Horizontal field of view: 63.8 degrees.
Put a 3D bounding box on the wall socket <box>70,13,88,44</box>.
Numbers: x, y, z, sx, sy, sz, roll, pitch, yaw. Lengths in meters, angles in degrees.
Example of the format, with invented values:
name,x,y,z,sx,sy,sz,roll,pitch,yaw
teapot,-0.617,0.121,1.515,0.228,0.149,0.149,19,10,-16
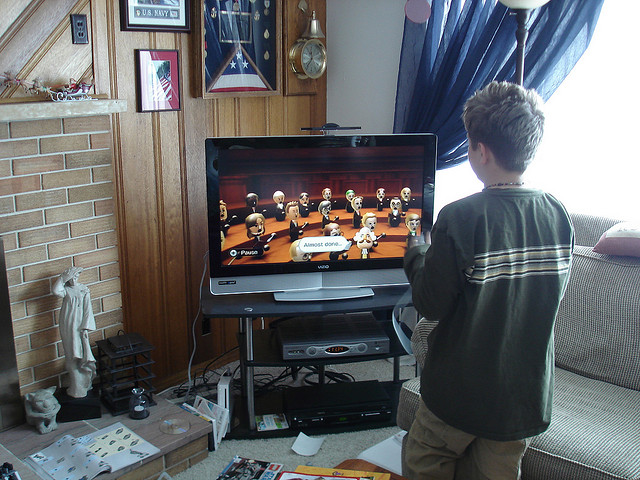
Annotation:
name,x,y,z,sx,sy,sz,roll,pitch,yaw
wall socket,-1.157,-1.016,2.467,0.029,0.141,0.073,13,21,40

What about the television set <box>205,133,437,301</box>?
name,x,y,z,sx,sy,sz,roll,pitch,yaw
television set,-0.028,-0.135,2.659,0.923,0.616,0.240,-1,6,-9

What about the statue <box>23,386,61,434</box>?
name,x,y,z,sx,sy,sz,roll,pitch,yaw
statue,-1.370,0.817,2.523,0.207,0.199,0.155,16,14,41

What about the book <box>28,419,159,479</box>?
name,x,y,z,sx,sy,sz,roll,pitch,yaw
book,-1.046,0.964,2.362,0.380,0.061,0.440,13,20,41

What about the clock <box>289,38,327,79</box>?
name,x,y,z,sx,sy,sz,roll,pitch,yaw
clock,-0.097,-1.215,3.419,0.294,0.281,0.112,-2,5,-37

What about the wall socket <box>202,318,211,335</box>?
name,x,y,z,sx,sy,sz,roll,pitch,yaw
wall socket,-0.740,0.560,3.323,0.013,0.104,0.060,11,20,36

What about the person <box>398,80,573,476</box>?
name,x,y,z,sx,sy,sz,roll,pitch,yaw
person,0.516,0.199,1.708,0.526,1.380,0.285,7,17,24

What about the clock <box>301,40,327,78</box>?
name,x,y,z,sx,sy,sz,roll,pitch,yaw
clock,-0.048,-1.209,3.428,0.203,0.229,0.035,-13,20,-39

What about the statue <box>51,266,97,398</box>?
name,x,y,z,sx,sy,sz,roll,pitch,yaw
statue,-1.223,0.461,2.571,0.168,0.629,0.187,-9,18,-27
